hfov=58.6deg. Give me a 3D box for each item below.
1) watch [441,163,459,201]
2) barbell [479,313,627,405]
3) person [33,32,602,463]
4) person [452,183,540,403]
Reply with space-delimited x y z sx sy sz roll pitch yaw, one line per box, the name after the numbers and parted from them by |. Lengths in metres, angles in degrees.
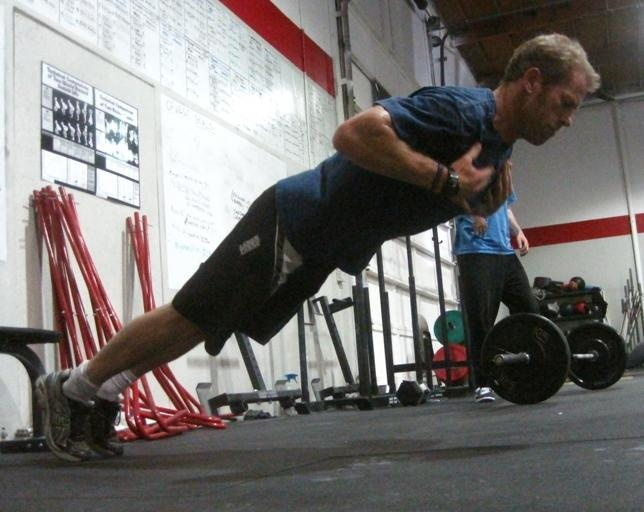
0.355 -0.198 1.567 0.040 0.080 0.073 3 -21 5 | watch
1.116 0.482 2.697 0.860 0.431 0.380 8 -20 -39 | barbell
0.012 -0.025 1.795 1.728 1.186 0.457 -7 -6 17 | person
0.947 -0.008 3.008 0.421 1.510 0.351 -1 -2 -35 | person
